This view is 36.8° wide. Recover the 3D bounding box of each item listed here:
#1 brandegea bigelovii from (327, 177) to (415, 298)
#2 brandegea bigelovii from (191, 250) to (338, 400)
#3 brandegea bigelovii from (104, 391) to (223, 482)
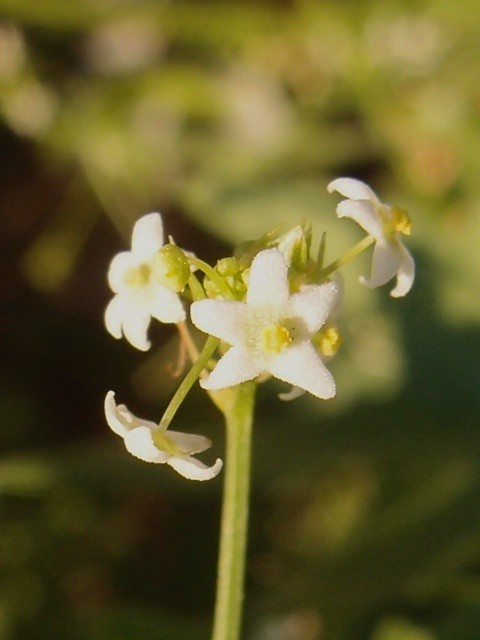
[{"bbox_3d":[0.177,-0.103,0.945,0.077,0.163,0.133,-29,64,27],"label":"brandegea bigelovii"},{"bbox_3d":[0.031,0.004,0.861,0.168,0.072,0.172,1,78,3],"label":"brandegea bigelovii"},{"bbox_3d":[-0.098,0.153,0.906,0.155,0.111,0.043,33,86,-8],"label":"brandegea bigelovii"}]
